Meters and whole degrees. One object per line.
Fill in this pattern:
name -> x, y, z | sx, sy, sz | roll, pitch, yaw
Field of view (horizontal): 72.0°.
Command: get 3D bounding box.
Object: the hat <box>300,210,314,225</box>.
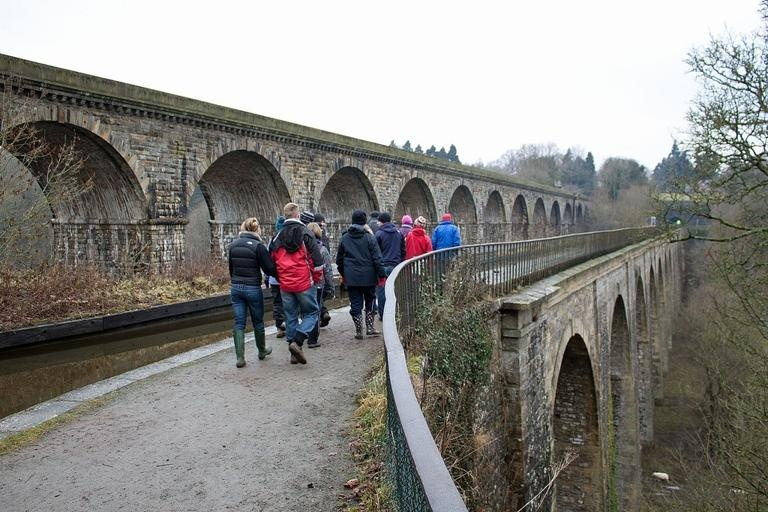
hat -> -1.423, -0.704, 9.908 | 0.257, 0.272, 0.333 | 25, 0, -18

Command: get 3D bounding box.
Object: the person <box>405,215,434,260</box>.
person -> 0.720, -0.356, 11.060 | 0.535, 0.884, 0.754 | 0, 14, 1

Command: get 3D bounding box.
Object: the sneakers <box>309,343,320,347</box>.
sneakers -> -1.259, 1.622, 9.588 | 0.190, 0.097, 0.073 | -3, 8, -7

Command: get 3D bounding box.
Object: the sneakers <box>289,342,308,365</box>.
sneakers -> -1.389, 1.582, 8.558 | 0.252, 0.450, 0.249 | -3, 14, -11

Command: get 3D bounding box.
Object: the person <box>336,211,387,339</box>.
person -> -0.437, 0.392, 9.866 | 0.831, 2.444, 0.405 | -2, 13, -4

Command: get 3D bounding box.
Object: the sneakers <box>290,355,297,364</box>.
sneakers -> -1.468, 1.695, 8.626 | 0.107, 0.063, 0.159 | 6, -2, 4

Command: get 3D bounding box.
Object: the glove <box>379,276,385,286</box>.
glove -> -0.008, 0.479, 9.867 | 0.100, 0.171, 0.161 | 3, -8, 2

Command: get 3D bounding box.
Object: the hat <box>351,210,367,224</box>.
hat -> -0.452, -0.705, 9.721 | 0.242, 0.224, 0.247 | -2, 16, -26

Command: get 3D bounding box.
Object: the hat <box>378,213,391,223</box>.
hat -> 0.031, -0.795, 11.156 | 0.189, 0.236, 0.243 | -3, 13, -25

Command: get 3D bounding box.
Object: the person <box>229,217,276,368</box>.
person -> -2.193, 0.624, 8.826 | 0.702, 2.367, 0.816 | -5, 14, -18

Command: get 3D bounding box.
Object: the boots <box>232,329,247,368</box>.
boots -> -2.356, 1.508, 8.628 | 0.162, 0.643, 0.171 | 0, 13, 1
